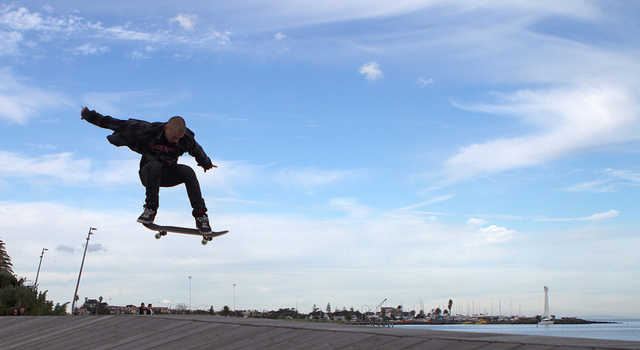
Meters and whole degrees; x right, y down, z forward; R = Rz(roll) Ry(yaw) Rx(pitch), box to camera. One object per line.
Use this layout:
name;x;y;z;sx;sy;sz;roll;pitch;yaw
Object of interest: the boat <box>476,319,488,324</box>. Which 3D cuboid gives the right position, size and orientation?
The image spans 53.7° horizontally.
boat;63.252;57.204;248.236;2.982;1.774;27.597;1;-12;13
